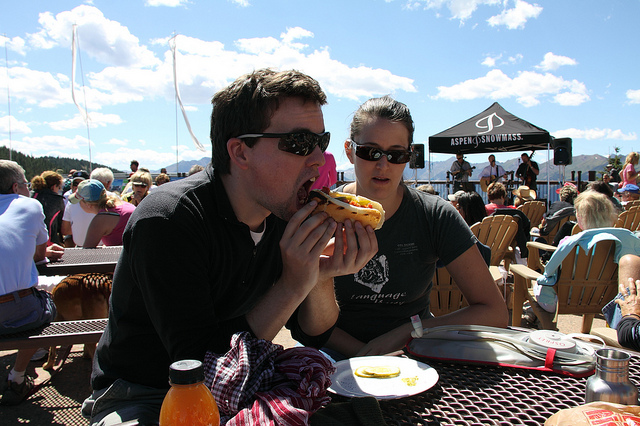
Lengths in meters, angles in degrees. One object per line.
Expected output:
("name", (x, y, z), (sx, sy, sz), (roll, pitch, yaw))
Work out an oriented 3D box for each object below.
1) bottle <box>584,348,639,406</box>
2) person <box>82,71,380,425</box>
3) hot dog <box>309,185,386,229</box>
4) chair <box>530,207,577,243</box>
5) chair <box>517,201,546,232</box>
("bottle", (1.266, 0.724, 1.820), (0.234, 0.232, 0.127), (-2, 12, 1))
("person", (-0.535, 0.143, 2.349), (1.507, 1.836, 0.754), (-10, 14, -34))
("hot dog", (0.165, -0.045, 2.562), (0.362, 0.161, 0.302), (22, 4, 15))
("chair", (4.250, 0.221, 7.705), (0.546, 0.839, 0.585), (-3, 16, -4))
("chair", (4.611, 0.077, 9.195), (0.426, 0.647, 0.466), (-10, 31, -7))
